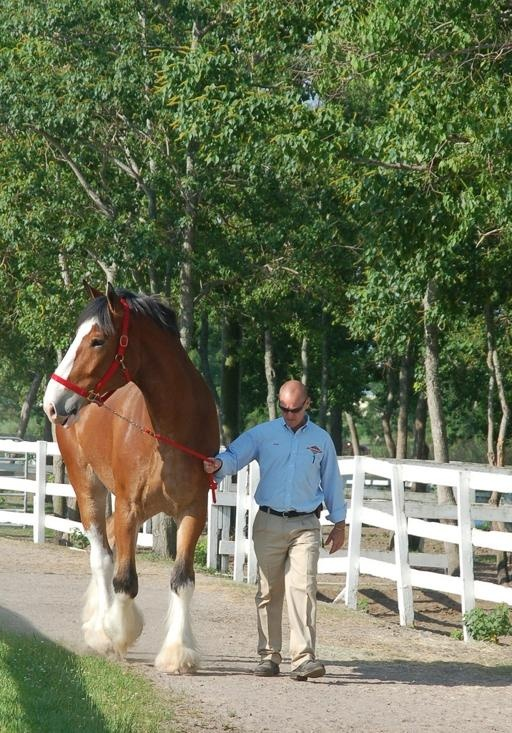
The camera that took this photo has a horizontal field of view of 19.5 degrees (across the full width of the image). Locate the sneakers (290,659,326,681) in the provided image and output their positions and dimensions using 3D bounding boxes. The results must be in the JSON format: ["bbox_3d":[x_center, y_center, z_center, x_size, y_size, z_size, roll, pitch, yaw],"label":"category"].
[{"bbox_3d":[0.401,2.311,11.402,0.274,0.138,0.118,-26,-25,37],"label":"sneakers"}]

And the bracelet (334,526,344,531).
[{"bbox_3d":[0.646,1.253,11.653,0.081,0.039,0.034,4,-6,-35],"label":"bracelet"}]

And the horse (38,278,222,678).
[{"bbox_3d":[-1.067,0.967,12.647,1.220,3.101,4.156,3,-4,-7],"label":"horse"}]

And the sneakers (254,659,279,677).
[{"bbox_3d":[0.103,2.352,11.618,0.275,0.129,0.123,5,-7,-43],"label":"sneakers"}]

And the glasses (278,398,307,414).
[{"bbox_3d":[0.293,0.306,11.636,0.224,0.136,0.205,0,-5,1],"label":"glasses"}]
